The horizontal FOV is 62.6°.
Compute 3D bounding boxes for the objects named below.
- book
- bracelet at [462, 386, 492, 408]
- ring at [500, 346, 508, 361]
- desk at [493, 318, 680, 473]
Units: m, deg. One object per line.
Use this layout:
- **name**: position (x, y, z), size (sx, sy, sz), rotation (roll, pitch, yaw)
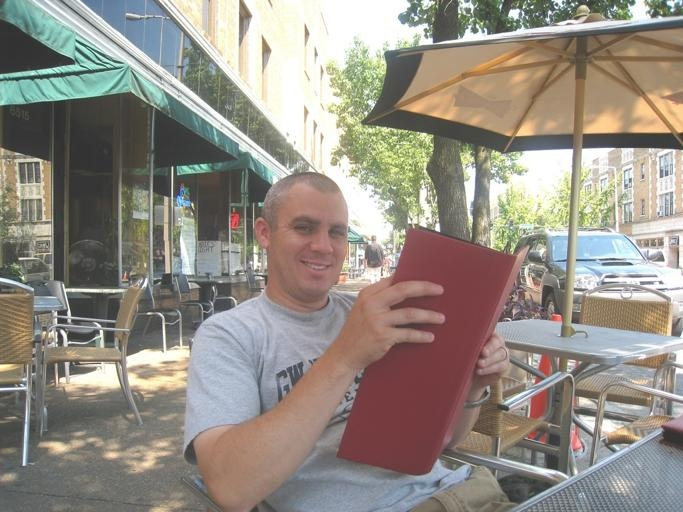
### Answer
- **book**: position (0.334, 0.372, 2.219), size (0.689, 0.970, 0.132), rotation (2, 4, 13)
- **bracelet**: position (0.620, 0.653, 2.553), size (0.112, 0.030, 0.116), rotation (-29, 7, 15)
- **ring**: position (0.698, 0.414, 2.412), size (0.018, 0.062, 0.023), rotation (-2, 25, 4)
- **desk**: position (1.714, 0.738, 3.968), size (1.067, 1.233, 1.165), rotation (1, 9, 3)
